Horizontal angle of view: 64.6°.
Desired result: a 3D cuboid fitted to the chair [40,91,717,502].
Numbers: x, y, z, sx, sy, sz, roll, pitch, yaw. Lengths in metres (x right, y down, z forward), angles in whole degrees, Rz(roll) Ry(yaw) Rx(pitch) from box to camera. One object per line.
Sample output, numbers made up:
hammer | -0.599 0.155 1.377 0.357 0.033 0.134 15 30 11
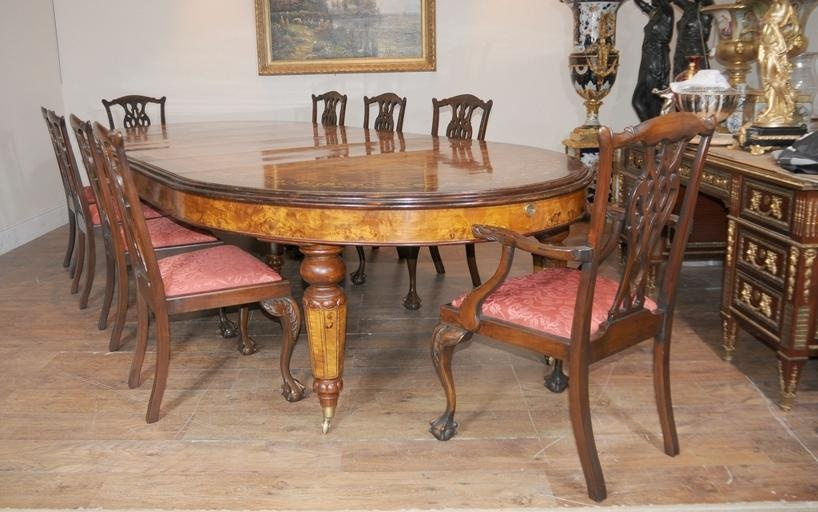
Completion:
chair | 0.139 0.083 3.066 2.353 1.537 1.364 6 23 19
